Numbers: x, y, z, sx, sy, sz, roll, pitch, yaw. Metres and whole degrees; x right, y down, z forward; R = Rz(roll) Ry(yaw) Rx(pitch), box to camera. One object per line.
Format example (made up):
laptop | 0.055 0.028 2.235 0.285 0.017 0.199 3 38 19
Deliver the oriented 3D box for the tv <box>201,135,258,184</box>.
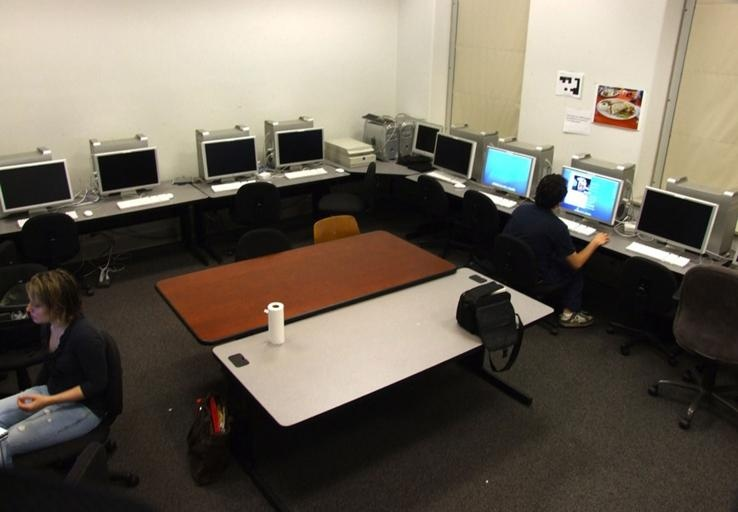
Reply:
tv | -1.633 -1.131 5.826 0.570 0.408 0.058 -13 23 -28

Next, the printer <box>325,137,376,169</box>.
printer | -0.224 -1.326 6.472 0.429 0.278 0.603 -17 33 -32

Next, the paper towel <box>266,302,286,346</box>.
paper towel | -0.596 0.429 3.258 0.107 0.243 0.137 -7 26 -14

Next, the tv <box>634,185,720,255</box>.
tv | 2.744 -0.320 4.457 0.100 0.385 0.514 -18 36 -39

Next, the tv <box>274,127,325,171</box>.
tv | -0.886 -1.350 6.263 0.514 0.352 0.082 -12 25 -29

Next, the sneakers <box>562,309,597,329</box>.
sneakers | 1.982 0.597 4.823 0.298 0.152 0.154 -7 35 -2

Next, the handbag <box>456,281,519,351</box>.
handbag | 0.789 0.397 3.379 0.326 0.463 0.192 -2 -19 -17

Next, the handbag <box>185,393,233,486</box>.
handbag | -1.095 1.232 3.422 0.225 0.418 0.421 5 15 -29

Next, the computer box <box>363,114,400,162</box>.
computer box | 0.156 -1.612 6.769 0.436 0.563 0.376 23 29 37

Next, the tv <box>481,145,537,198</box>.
tv | 1.557 -0.934 5.533 0.602 0.450 0.090 25 30 37

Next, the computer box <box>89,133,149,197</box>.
computer box | -2.660 -1.010 5.516 0.647 0.602 0.379 -19 43 -37

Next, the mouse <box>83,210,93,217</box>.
mouse | -2.784 -0.432 5.025 0.073 0.020 0.075 22 26 16

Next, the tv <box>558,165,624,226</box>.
tv | 2.197 -0.606 4.941 0.086 0.398 0.530 -21 35 -39

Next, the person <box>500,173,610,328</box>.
person | 1.732 -0.044 4.640 0.825 1.468 0.741 -29 38 -23

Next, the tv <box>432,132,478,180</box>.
tv | 0.990 -1.214 6.054 0.596 0.450 0.050 9 0 -31

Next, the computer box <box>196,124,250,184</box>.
computer box | -1.683 -1.168 5.834 0.597 0.529 0.324 -14 27 -28

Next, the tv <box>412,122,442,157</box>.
tv | 0.751 -1.512 6.482 0.396 0.408 0.154 29 29 36
